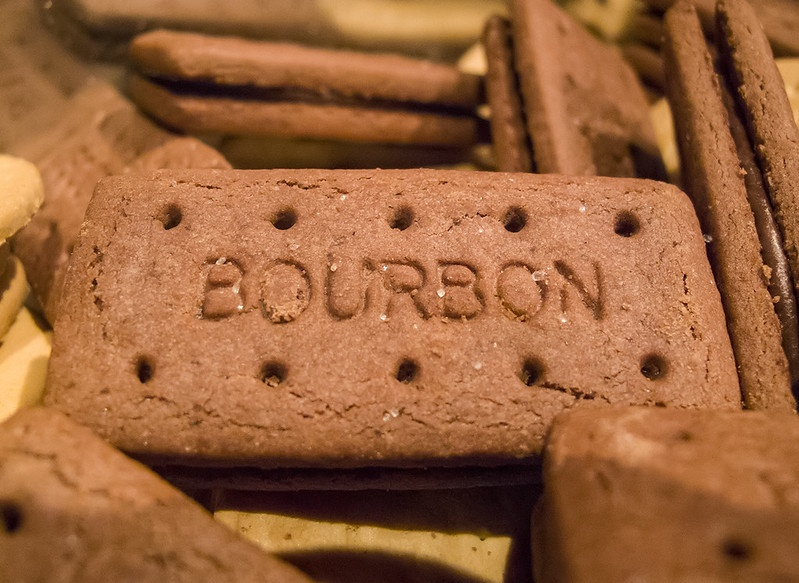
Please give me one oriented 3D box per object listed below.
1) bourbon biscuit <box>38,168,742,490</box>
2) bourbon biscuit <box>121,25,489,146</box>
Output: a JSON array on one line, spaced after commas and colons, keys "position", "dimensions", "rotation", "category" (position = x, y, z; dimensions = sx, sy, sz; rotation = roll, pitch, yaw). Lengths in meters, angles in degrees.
[{"position": [-0.068, 0.074, 3.680], "dimensions": [2.253, 0.546, 1.211], "rotation": [1, 77, -1], "category": "bourbon biscuit"}, {"position": [-0.417, -0.874, 3.837], "dimensions": [1.419, 0.349, 0.453], "rotation": [1, 94, -11], "category": "bourbon biscuit"}]
